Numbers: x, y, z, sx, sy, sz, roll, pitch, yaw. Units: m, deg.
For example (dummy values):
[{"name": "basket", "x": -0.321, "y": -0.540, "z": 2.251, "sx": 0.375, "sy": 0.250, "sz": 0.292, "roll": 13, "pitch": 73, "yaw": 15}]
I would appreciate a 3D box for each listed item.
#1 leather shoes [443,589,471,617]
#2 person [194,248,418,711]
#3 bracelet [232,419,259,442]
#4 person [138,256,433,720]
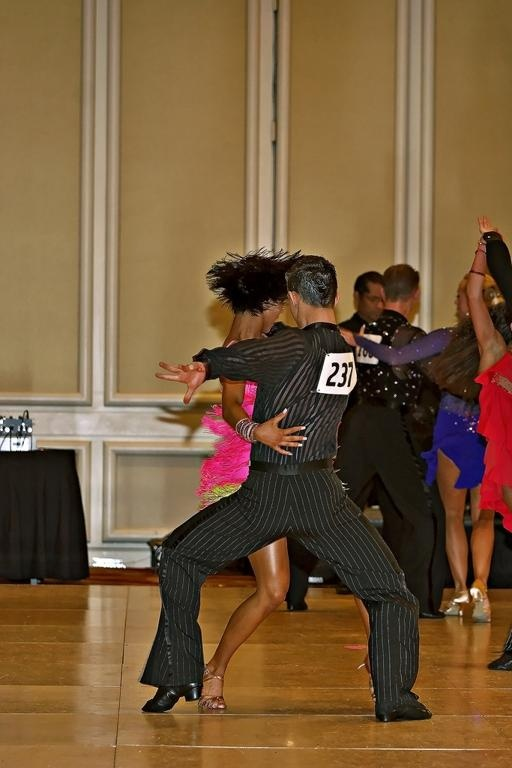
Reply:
[{"name": "leather shoes", "x": 0.976, "y": 1.061, "z": 3.895, "sx": 0.072, "sy": 0.072, "sz": 0.197, "roll": -1, "pitch": 0, "yaw": -9}, {"name": "person", "x": 0.142, "y": 0.286, "z": 2.421, "sx": 0.704, "sy": 1.330, "sz": 0.483, "roll": -2, "pitch": 1, "yaw": -15}, {"name": "bracelet", "x": -0.021, "y": 0.103, "z": 1.857, "sx": 0.055, "sy": 0.052, "sz": 0.028, "roll": -19, "pitch": 8, "yaw": -18}, {"name": "person", "x": 0.080, "y": 0.242, "z": 2.018, "sx": 0.764, "sy": 1.052, "sz": 0.664, "roll": 2, "pitch": -2, "yaw": -8}]
